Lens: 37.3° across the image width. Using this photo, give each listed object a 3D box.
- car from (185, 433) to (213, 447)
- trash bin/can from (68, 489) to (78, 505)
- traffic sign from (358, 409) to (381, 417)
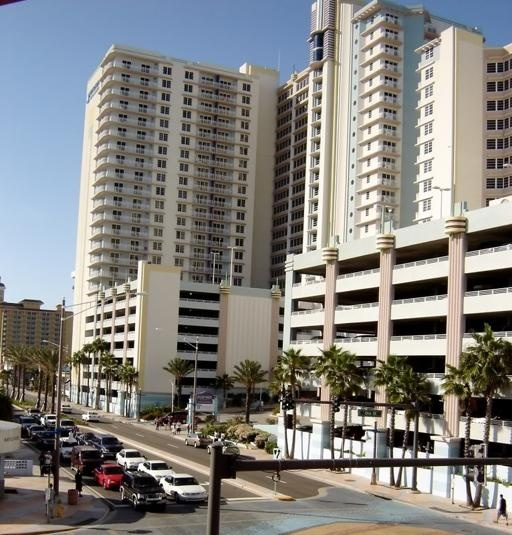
[{"bbox_3d":[-5.555,16.589,72.674,1.246,0.688,2.597,4,-3,-34],"label":"car"},{"bbox_3d":[-10.380,12.953,42.771,0.914,0.698,0.472,3,8,5],"label":"trash bin/can"},{"bbox_3d":[8.099,10.371,54.150,1.098,0.224,0.917,0,-2,10],"label":"traffic sign"}]
